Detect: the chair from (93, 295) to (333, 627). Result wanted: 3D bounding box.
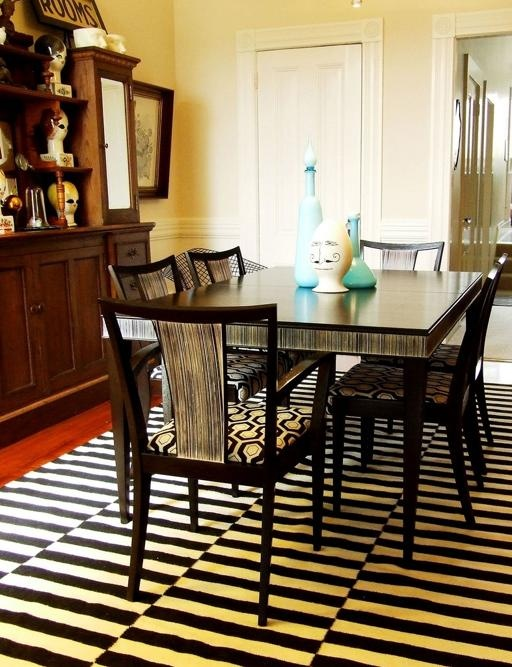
[{"bbox_3d":[-0.067,0.279,1.345,0.451,0.753,0.573,1,6,22],"label":"chair"}]
